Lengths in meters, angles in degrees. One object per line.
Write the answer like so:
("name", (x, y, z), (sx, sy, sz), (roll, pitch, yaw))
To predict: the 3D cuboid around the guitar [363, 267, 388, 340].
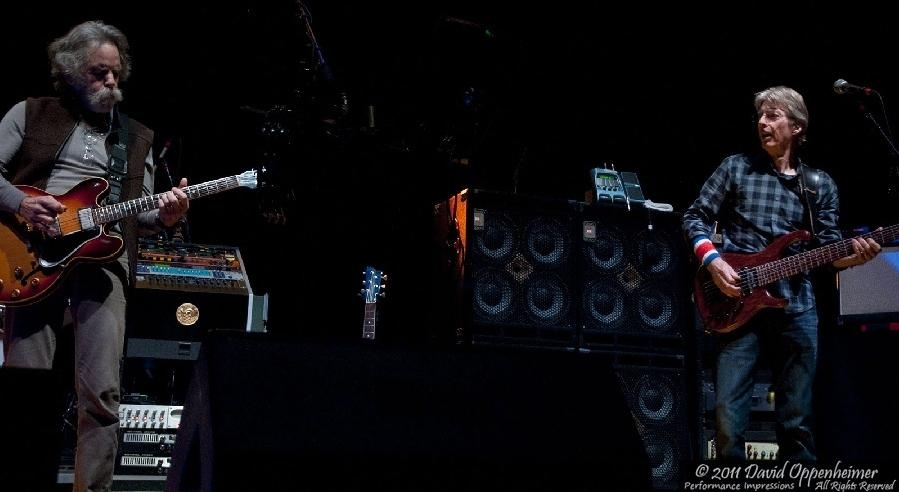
("guitar", (-0.757, 0.554, 7.895), (0.234, 0.728, 0.364), (2, -11, -5))
